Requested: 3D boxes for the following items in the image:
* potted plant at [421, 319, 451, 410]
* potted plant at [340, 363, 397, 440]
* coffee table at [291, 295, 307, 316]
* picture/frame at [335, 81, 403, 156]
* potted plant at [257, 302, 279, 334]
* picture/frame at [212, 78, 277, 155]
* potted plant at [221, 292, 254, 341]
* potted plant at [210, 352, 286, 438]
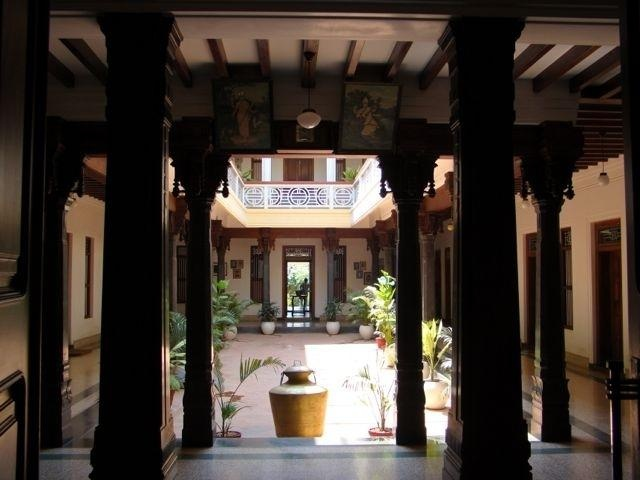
[{"bbox_3d":[1.588,1.734,7.384,0.531,1.172,0.602,0,-10,-3],"label":"potted plant"},{"bbox_3d":[0.706,2.017,6.284,0.544,0.741,0.822,-16,-31,22],"label":"potted plant"},{"bbox_3d":[-0.876,2.792,22.649,0.801,1.167,0.908,1,-14,-3],"label":"coffee table"},{"bbox_3d":[0.492,-1.216,5.180,0.749,0.898,0.124,3,36,-2],"label":"picture/frame"},{"bbox_3d":[-1.520,2.264,15.437,0.591,0.882,0.534,-1,-3,-44],"label":"potted plant"},{"bbox_3d":[-0.746,-1.222,5.116,0.769,0.906,0.130,1,34,-1],"label":"picture/frame"},{"bbox_3d":[-2.483,2.103,14.626,1.001,1.135,0.938,14,-8,-33],"label":"potted plant"},{"bbox_3d":[-1.065,1.844,6.114,1.007,0.851,0.644,0,-8,-11],"label":"potted plant"}]
